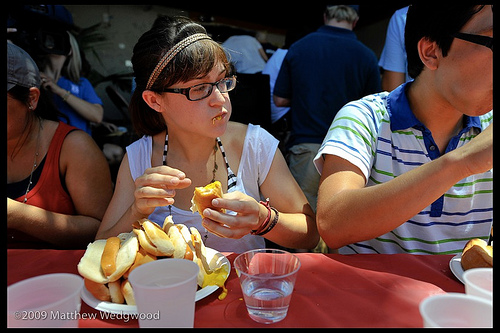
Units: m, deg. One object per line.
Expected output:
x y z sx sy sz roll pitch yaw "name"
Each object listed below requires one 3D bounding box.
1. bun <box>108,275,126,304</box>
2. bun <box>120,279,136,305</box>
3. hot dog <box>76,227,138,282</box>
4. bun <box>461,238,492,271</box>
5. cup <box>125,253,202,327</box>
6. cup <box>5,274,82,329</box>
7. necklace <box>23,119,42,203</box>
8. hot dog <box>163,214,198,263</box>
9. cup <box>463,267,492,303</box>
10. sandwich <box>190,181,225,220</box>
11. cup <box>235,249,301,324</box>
-0.618 0.569 1.796 0.040 0.105 0.107 -5 -14 28 "bun"
-0.566 0.573 1.785 0.036 0.115 0.092 -15 29 -35 "bun"
-0.669 0.404 1.881 0.223 0.062 0.274 -35 33 1 "hot dog"
1.123 0.444 1.945 0.105 0.136 0.297 13 24 22 "bun"
-0.350 0.525 1.601 0.263 0.270 0.161 -7 25 -22 "cup"
-0.808 0.518 1.522 0.233 0.169 0.234 0 14 0 "cup"
-1.576 0.012 2.826 0.041 0.762 0.092 13 -20 -26 "necklace"
-0.342 0.349 1.915 0.118 0.075 0.233 21 31 -41 "hot dog"
0.923 0.463 1.554 0.111 0.086 0.120 -6 3 0 "cup"
-0.232 0.173 2.108 0.153 0.197 0.074 0 11 -9 "sandwich"
0.070 0.525 1.754 0.305 0.237 0.308 0 8 0 "cup"
